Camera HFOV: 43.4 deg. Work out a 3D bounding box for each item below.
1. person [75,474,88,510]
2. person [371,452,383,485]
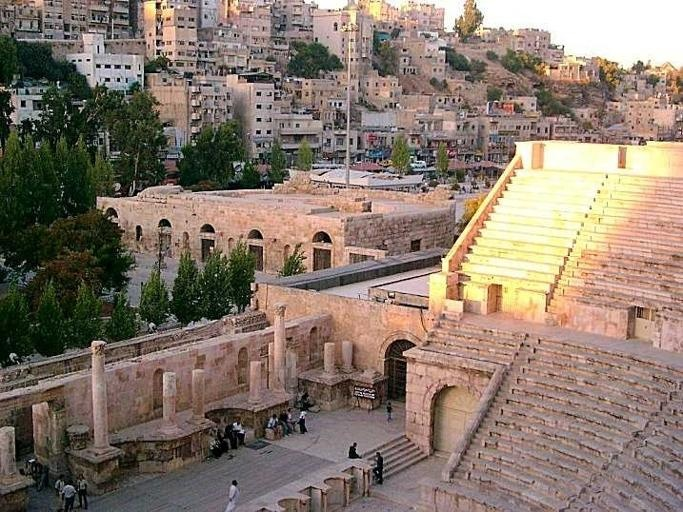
[{"bbox_3d":[-10.077,9.117,33.282,0.369,1.097,1.087,-3,14,-18],"label":"person"},{"bbox_3d":[1.511,8.814,35.789,0.414,1.004,1.051,2,13,3],"label":"person"}]
